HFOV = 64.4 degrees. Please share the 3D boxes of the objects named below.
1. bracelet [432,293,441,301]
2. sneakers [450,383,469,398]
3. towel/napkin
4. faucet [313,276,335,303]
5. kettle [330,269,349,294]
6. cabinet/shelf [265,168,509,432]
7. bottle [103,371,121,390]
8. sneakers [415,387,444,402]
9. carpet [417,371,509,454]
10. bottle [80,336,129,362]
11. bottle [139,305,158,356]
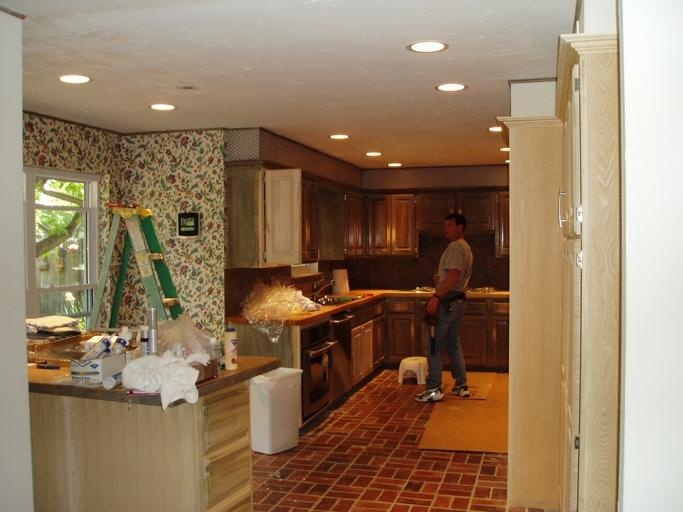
[{"bbox_3d":[1.019,0.445,5.884,0.061,0.048,0.064,3,3,28],"label":"bracelet"},{"bbox_3d":[1.345,1.528,6.186,0.090,0.109,0.245,-3,4,-16],"label":"sneakers"},{"bbox_3d":[-0.907,0.616,2.742,0.304,0.147,0.293,12,-9,-33],"label":"towel/napkin"},{"bbox_3d":[-0.235,0.426,7.158,0.237,0.352,0.355,0,0,14],"label":"faucet"},{"bbox_3d":[0.004,0.350,7.533,0.275,0.332,0.285,0,3,8],"label":"kettle"},{"bbox_3d":[0.701,0.337,6.899,2.504,2.635,2.626,0,2,21],"label":"cabinet/shelf"},{"bbox_3d":[-1.224,0.671,2.908,0.095,0.062,0.152,-1,3,-25],"label":"bottle"},{"bbox_3d":[0.977,1.543,6.056,0.342,0.168,0.131,-1,-2,9],"label":"sneakers"},{"bbox_3d":[1.285,1.618,5.524,0.766,0.025,1.935,0,3,16],"label":"carpet"},{"bbox_3d":[-1.325,0.527,3.066,0.073,0.085,0.278,21,20,18],"label":"bottle"},{"bbox_3d":[-1.042,0.404,2.958,0.082,0.256,0.186,-1,3,-18],"label":"bottle"}]
